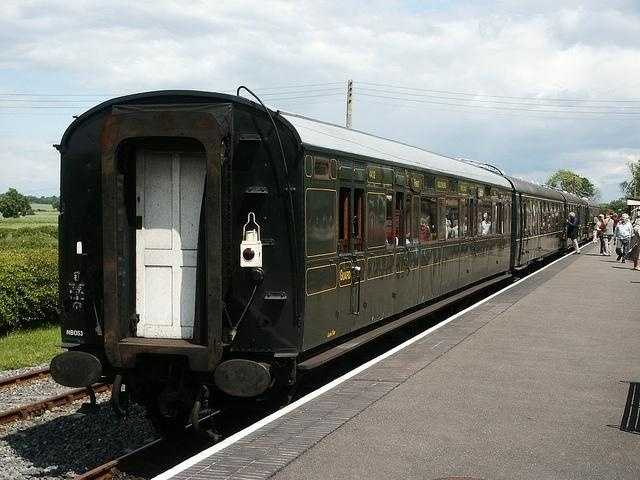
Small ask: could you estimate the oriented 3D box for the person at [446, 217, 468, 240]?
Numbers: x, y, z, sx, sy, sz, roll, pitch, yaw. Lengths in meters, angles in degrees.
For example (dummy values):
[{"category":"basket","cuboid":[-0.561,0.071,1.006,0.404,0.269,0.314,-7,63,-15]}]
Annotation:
[{"category":"person","cuboid":[3.479,-0.268,13.259,0.309,0.539,1.262,1,7,20]}]
